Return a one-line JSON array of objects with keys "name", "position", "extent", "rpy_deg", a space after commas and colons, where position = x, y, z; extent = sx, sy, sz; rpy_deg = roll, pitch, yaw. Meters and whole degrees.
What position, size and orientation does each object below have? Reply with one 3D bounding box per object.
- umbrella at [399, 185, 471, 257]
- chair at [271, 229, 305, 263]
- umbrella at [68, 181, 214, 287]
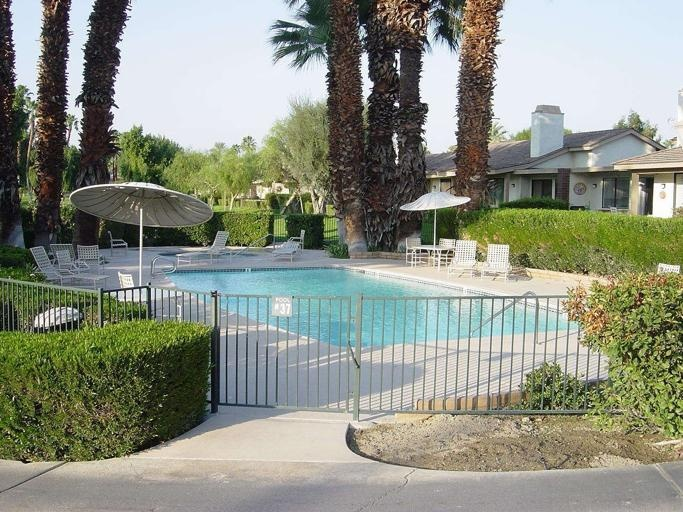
[{"name": "umbrella", "position": [3.313, -1.067, 27.050], "extent": [1.960, 2.024, 2.148], "rpy_deg": [0, 9, 34]}, {"name": "chair", "position": [-2.081, -0.265, 30.577], "extent": [0.829, 1.014, 1.825], "rpy_deg": [1, 5, 14]}, {"name": "umbrella", "position": [-4.290, -1.009, 16.984], "extent": [2.763, 1.320, 1.708], "rpy_deg": [-2, 14, -5]}]
